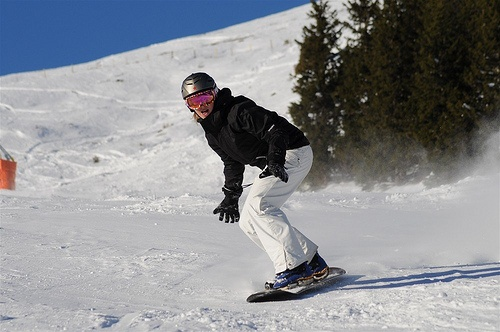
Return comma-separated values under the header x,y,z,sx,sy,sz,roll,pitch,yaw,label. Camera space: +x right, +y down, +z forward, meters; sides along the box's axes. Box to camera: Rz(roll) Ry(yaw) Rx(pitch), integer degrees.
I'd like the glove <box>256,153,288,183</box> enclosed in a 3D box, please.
x,y,z,sx,sy,sz,roll,pitch,yaw,label
0.539,0.093,15.667,0.610,0.610,0.218,12,32,32,glove
